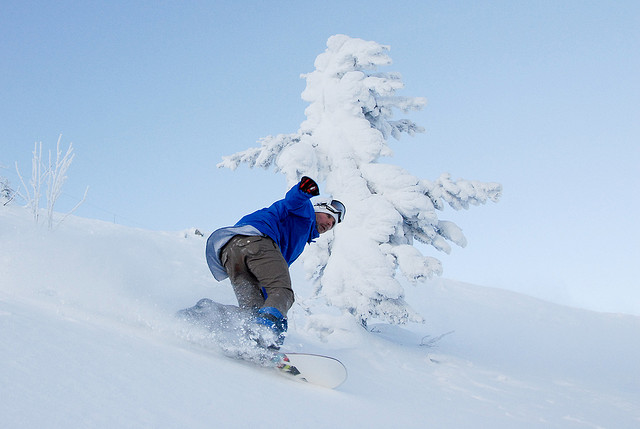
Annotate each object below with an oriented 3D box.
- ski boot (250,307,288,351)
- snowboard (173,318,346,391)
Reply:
[{"bbox_3d":[-0.595,1.413,7.243,0.406,0.534,0.192,-7,-5,19],"label":"ski boot"},{"bbox_3d":[-0.559,1.764,7.239,1.839,0.377,0.359,17,-28,6],"label":"snowboard"}]
